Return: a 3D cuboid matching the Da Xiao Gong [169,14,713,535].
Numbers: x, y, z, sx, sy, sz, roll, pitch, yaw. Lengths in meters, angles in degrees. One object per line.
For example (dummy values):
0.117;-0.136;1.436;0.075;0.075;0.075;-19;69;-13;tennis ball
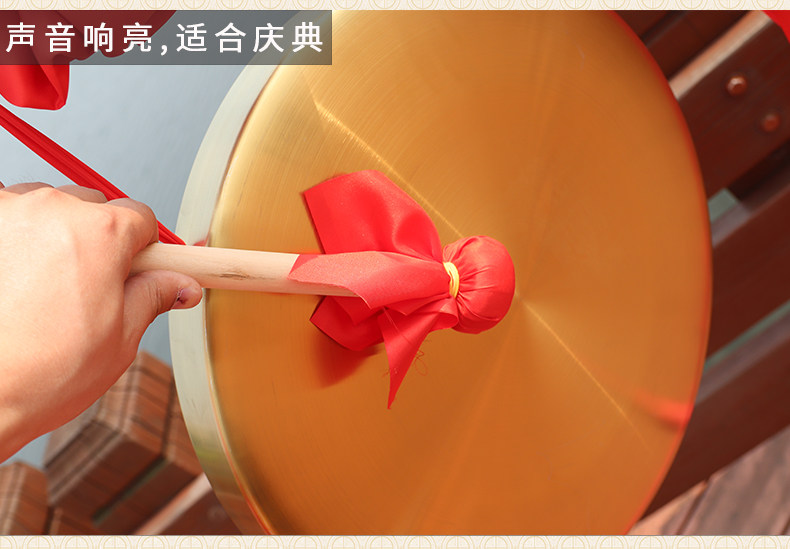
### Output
0.102;-0.001;1.225;0.883;0.699;0.602;2;42;-19;Da Xiao Gong
